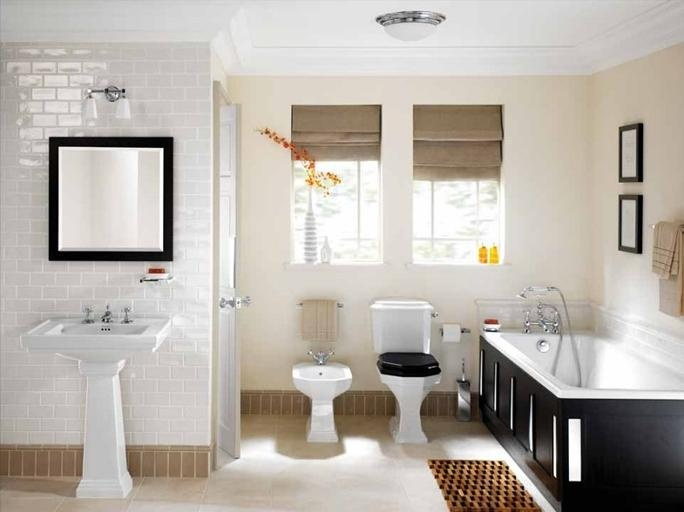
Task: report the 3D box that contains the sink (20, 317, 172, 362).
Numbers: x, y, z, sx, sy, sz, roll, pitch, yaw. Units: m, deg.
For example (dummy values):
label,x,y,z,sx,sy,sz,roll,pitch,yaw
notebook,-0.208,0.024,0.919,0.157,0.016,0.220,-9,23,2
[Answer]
label,x,y,z,sx,sy,sz,roll,pitch,yaw
sink,-1.674,0.606,4.033,0.910,0.260,0.462,0,10,-1

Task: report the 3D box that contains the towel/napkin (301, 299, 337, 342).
label,x,y,z,sx,sy,sz,roll,pitch,yaw
towel/napkin,-0.205,0.566,5.148,0.328,0.348,0.089,-2,1,-3

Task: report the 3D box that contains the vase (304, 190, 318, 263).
label,x,y,z,sx,sy,sz,roll,pitch,yaw
vase,-0.291,-0.280,5.312,0.136,0.651,0.237,0,10,-4

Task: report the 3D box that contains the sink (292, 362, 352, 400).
label,x,y,z,sx,sy,sz,roll,pitch,yaw
sink,-0.171,1.021,4.850,0.375,0.186,0.452,0,-1,-1

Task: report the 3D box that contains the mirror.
label,x,y,z,sx,sy,sz,roll,pitch,yaw
mirror,-1.688,-0.426,4.234,0.872,0.884,0.064,0,0,-2

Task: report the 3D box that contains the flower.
label,x,y,z,sx,sy,sz,roll,pitch,yaw
flower,-0.387,-0.847,5.295,0.749,0.606,0.197,1,10,1

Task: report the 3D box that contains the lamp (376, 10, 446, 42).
label,x,y,z,sx,sy,sz,roll,pitch,yaw
lamp,0.506,-1.722,4.378,0.524,0.162,0.283,2,10,8

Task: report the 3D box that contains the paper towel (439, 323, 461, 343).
label,x,y,z,sx,sy,sz,roll,pitch,yaw
paper towel,0.973,0.702,5.215,0.181,0.198,0.171,2,10,10

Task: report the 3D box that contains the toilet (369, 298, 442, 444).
label,x,y,z,sx,sy,sz,roll,pitch,yaw
toilet,0.513,0.952,4.933,0.569,1.069,0.562,1,10,3

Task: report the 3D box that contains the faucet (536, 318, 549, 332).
label,x,y,z,sx,sy,sz,roll,pitch,yaw
faucet,1.744,0.604,5.105,0.089,0.043,0.121,2,10,-3

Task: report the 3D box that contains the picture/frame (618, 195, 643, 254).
label,x,y,z,sx,sy,sz,roll,pitch,yaw
picture/frame,2.313,-0.265,4.749,0.332,0.458,0.050,1,-1,-34
